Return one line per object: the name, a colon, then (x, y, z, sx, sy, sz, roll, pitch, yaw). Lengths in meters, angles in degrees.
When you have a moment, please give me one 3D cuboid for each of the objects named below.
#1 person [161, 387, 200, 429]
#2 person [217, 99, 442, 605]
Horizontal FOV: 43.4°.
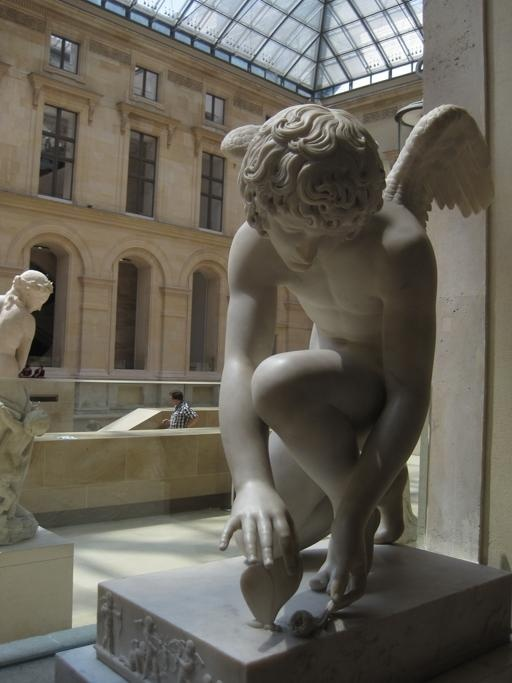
person: (-0.924, 0.848, 7.765, 0.375, 0.490, 1.572, 4, -5, -8)
person: (0.151, 0.011, 1.311, 0.490, 1.006, 0.537, 3, -5, -4)
